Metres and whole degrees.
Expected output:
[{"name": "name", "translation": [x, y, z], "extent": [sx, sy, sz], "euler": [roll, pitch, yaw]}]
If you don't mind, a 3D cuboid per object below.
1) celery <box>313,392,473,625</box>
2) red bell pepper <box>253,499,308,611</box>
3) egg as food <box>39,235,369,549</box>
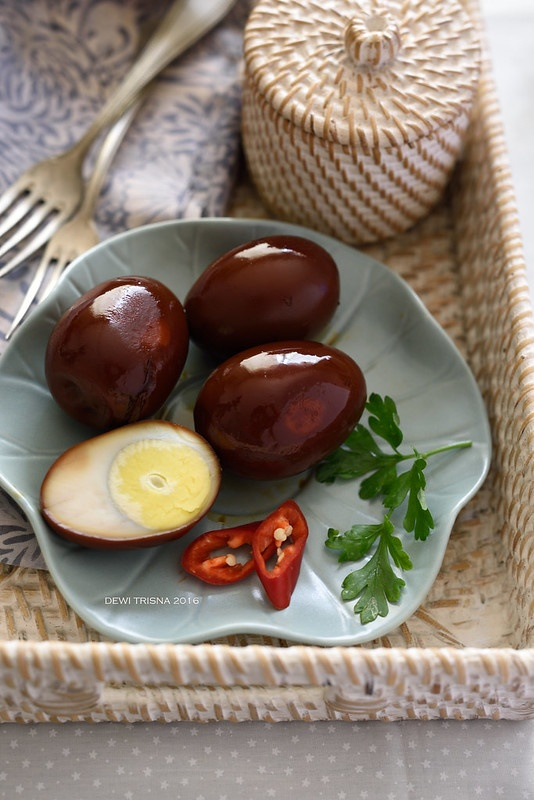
[{"name": "celery", "translation": [0.090, 0.071, 0.512], "extent": [0.085, 0.026, 0.134], "euler": [7, 65, 40]}, {"name": "red bell pepper", "translation": [0.008, 0.093, 0.472], "extent": [0.033, 0.023, 0.071], "euler": [1, 40, 10]}, {"name": "egg as food", "translation": [-0.033, -0.015, 0.515], "extent": [0.210, 0.078, 0.183], "euler": [-1, 56, 0]}]
